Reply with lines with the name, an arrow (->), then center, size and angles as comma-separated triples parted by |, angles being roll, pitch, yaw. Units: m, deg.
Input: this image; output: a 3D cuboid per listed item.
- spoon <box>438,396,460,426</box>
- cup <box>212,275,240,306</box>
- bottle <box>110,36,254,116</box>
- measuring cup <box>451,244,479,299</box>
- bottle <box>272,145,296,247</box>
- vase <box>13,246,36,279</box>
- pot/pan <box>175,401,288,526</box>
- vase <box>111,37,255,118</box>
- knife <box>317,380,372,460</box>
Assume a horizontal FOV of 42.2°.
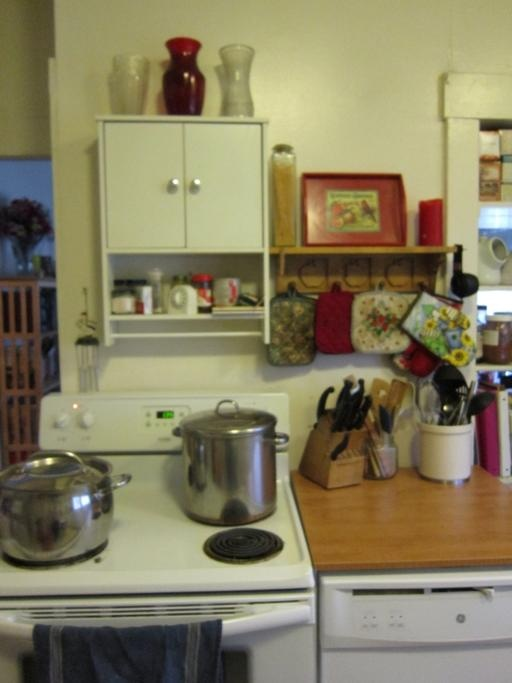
spoon -> 0.588, 0.214, 2.021 | 0.059, 0.065, 0.109 | 3, 10, 16
cup -> -0.097, -0.148, 1.960 | 0.084, 0.084, 0.081 | 0, 4, 0
bottle -> -0.218, -0.782, 1.940 | 0.352, 0.163, 0.101 | 0, -1, -7
measuring cup -> 0.648, -0.227, 2.100 | 0.085, 0.161, 0.075 | -1, 21, 22
bottle -> 0.090, -0.447, 2.040 | 0.085, 0.304, 0.174 | 0, 10, 2
vase -> -1.054, -0.359, 3.025 | 0.083, 0.137, 0.050 | -1, 13, -15
pot/pan -> -0.067, 0.313, 1.773 | 0.344, 0.266, 0.245 | -2, 4, -1
vase -> -0.217, -0.778, 1.938 | 0.355, 0.163, 0.101 | 0, -1, -7
knife -> 0.267, 0.233, 1.969 | 0.141, 0.231, 0.066 | 7, -5, 36
